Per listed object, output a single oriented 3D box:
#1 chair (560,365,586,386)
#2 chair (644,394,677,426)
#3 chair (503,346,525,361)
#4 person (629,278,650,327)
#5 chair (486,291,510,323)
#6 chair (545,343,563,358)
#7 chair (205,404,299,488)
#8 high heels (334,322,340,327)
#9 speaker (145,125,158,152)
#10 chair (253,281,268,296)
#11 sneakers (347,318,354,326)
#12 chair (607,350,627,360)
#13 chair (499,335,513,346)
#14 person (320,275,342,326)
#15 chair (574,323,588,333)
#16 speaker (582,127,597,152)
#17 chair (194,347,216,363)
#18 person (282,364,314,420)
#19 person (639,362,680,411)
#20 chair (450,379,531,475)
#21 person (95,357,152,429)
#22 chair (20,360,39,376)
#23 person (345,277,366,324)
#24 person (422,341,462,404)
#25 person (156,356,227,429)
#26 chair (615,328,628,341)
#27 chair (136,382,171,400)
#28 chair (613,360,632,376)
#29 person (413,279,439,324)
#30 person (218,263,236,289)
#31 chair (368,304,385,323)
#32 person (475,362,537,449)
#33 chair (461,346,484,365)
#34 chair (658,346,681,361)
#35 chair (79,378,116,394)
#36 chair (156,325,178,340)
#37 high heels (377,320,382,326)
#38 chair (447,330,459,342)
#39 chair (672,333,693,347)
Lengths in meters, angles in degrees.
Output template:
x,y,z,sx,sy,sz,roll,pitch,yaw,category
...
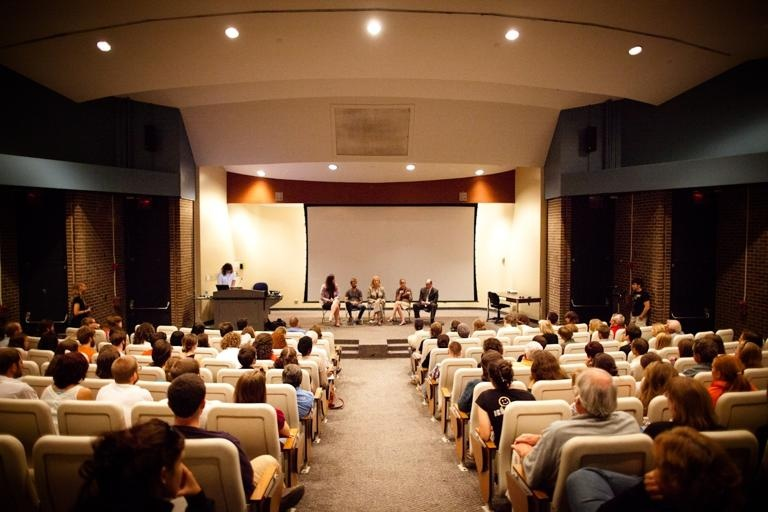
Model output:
x,y,z,sx,sy,sz,roll,pitch,yaw,category
2.457,1.568,7.360,0.349,0.274,0.267,0,-4,-3,chair
3.435,1.929,7.054,0.299,0.484,0.400,0,1,11,chair
2.197,1.639,9.509,0.255,0.285,0.256,1,7,7,chair
5.958,1.108,13.083,0.413,1.062,0.713,2,11,25,person
3.255,1.458,16.506,0.723,1.100,0.814,-1,2,9,chair
2.743,1.548,9.125,0.299,0.343,0.174,-1,-3,4,chair
-1.736,2.204,6.910,0.629,0.982,0.732,-1,0,4,chair
-1.326,1.901,15.683,0.206,0.167,0.078,0,-1,15,high heels
-5.741,-2.904,13.839,0.328,0.637,0.092,-8,11,-27,speaker
-3.582,0.917,16.298,0.456,0.454,0.421,0,3,-15,chair
-0.977,1.876,16.002,0.162,0.343,0.178,1,-1,-2,sneakers
3.612,1.548,8.731,0.261,0.203,0.207,0,-5,6,chair
2.331,1.623,10.813,0.225,0.235,0.238,1,3,5,chair
-1.534,1.248,15.875,0.465,1.312,0.804,-4,10,-8,person
3.898,1.434,11.172,0.268,0.248,0.283,2,5,18,chair
5.166,-2.915,14.105,0.331,0.630,0.161,0,10,16,speaker
-2.926,1.599,9.121,0.205,0.261,0.230,2,6,-1,chair
-1.214,1.896,7.960,0.504,0.818,0.655,0,-2,2,person
3.651,1.742,7.470,0.473,0.754,0.442,-5,19,16,person
1.731,2.393,8.302,1.060,1.644,1.213,0,1,0,chair
-3.372,1.777,7.223,0.702,0.837,0.471,1,7,-8,person
-5.327,1.671,8.471,0.251,0.246,0.219,2,6,-18,chair
-0.859,1.287,16.659,0.545,1.480,1.933,-3,10,-2,person
0.799,1.786,9.442,0.652,1.224,0.690,0,5,-3,person
-2.726,1.738,7.676,0.682,1.071,0.802,1,5,-2,person
4.423,1.473,10.526,0.217,0.337,0.231,0,-3,8,chair
-3.132,1.818,7.638,0.416,0.326,0.240,1,-2,-4,chair
3.542,1.673,8.363,0.280,0.284,0.214,2,7,26,chair
1.171,1.303,16.262,0.694,1.369,1.570,-2,10,3,person
-4.390,0.551,15.479,0.455,0.710,1.807,-6,11,-17,person
-0.222,1.666,15.991,0.488,0.745,0.483,0,7,5,chair
1.578,1.922,7.607,0.749,1.069,0.569,-9,16,-22,person
1.482,1.649,9.367,0.230,0.365,0.261,1,5,2,chair
4.551,1.562,8.980,0.213,0.237,0.213,1,6,14,chair
-3.838,1.751,7.517,0.234,0.184,0.138,2,8,-1,chair
-4.086,1.450,10.563,0.270,0.437,0.230,-1,6,-4,chair
-0.119,1.881,15.715,0.123,0.209,0.119,7,5,10,high heels
1.361,1.594,11.149,0.188,0.171,0.193,0,-7,0,chair
5.004,1.422,9.463,0.190,0.279,0.209,1,3,5,chair
